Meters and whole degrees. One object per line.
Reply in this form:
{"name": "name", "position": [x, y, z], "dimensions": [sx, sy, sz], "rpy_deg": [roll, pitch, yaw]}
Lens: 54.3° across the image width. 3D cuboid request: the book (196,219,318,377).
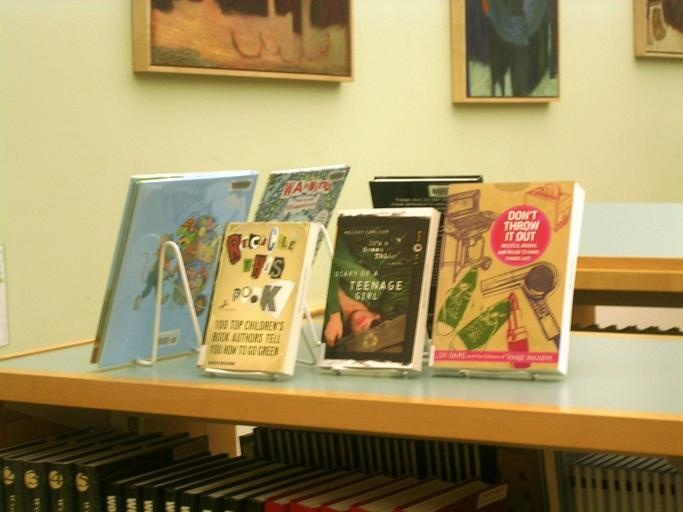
{"name": "book", "position": [-0.182, 0.086, 1.446], "dimensions": [0.220, 0.317, 0.102], "rpy_deg": [3, -1, 18]}
